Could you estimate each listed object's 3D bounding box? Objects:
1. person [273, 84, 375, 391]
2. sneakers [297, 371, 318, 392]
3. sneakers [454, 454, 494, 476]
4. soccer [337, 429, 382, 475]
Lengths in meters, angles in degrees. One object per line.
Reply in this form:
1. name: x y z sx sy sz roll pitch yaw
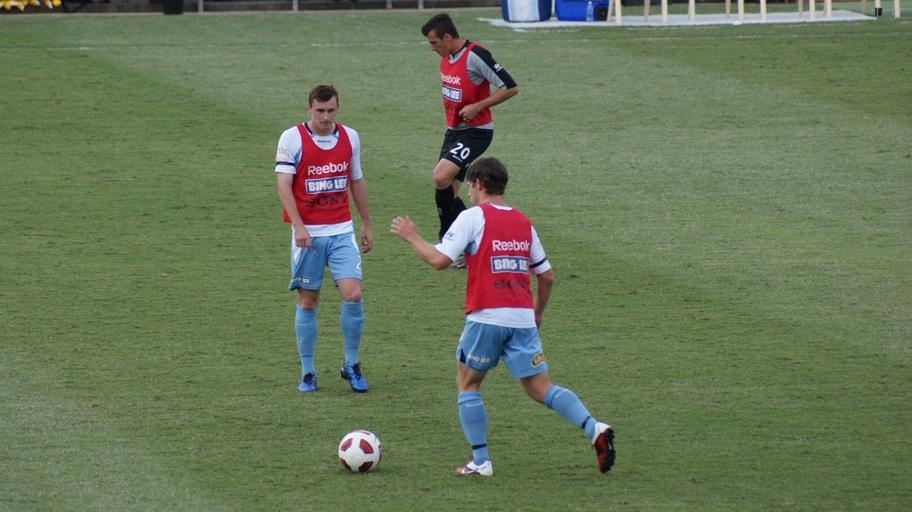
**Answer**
1. person: -1.692 -0.272 20.314 1.188 3.813 1.159 0 15 -4
2. sneakers: -1.904 1.563 20.333 0.263 0.237 0.144 -1 15 -6
3. sneakers: 0.238 2.545 19.436 0.518 0.203 0.178 3 -3 1
4. soccer: -1.183 2.366 19.552 0.613 0.528 0.562 0 7 -19
